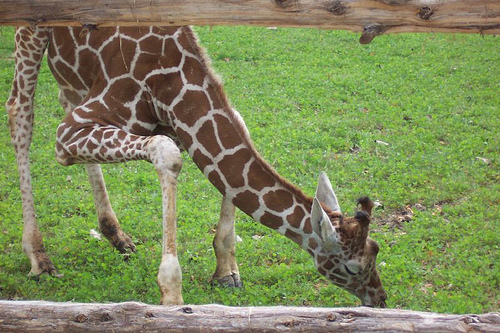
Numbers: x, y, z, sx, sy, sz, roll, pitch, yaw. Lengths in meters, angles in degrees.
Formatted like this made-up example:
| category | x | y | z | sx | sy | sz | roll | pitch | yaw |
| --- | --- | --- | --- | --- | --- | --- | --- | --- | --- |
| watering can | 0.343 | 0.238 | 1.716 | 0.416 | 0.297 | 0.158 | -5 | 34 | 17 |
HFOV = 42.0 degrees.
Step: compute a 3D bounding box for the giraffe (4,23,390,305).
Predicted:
| category | x | y | z | sx | sy | sz | roll | pitch | yaw |
| --- | --- | --- | --- | --- | --- | --- | --- | --- | --- |
| giraffe | -0.983 | 0.127 | 10.762 | 6.650 | 4.015 | 1.970 | 24 | 27 | 24 |
